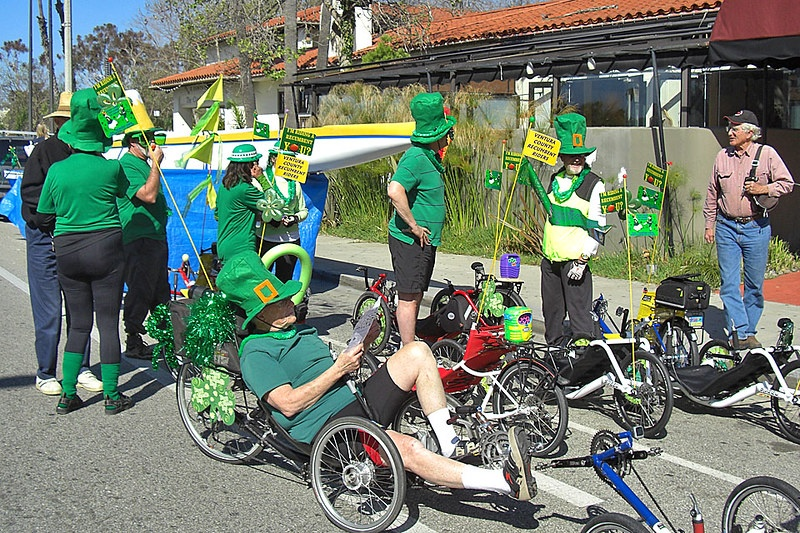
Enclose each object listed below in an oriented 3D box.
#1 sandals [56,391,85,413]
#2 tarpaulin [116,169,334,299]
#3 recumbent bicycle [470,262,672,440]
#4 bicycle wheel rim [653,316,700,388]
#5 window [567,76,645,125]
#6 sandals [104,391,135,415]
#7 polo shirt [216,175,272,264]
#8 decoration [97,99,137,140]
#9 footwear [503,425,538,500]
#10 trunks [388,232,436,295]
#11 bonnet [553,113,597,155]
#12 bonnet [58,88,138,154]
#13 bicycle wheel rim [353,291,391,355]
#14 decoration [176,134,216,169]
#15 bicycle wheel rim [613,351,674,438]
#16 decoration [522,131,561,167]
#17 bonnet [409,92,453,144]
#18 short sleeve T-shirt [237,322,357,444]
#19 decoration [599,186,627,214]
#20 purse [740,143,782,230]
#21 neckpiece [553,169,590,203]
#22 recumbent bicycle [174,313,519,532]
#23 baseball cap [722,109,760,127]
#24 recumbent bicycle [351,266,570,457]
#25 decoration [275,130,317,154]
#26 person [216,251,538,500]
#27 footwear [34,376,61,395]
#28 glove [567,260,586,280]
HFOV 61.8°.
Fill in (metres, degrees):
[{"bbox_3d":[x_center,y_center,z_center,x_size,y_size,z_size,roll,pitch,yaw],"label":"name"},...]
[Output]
[{"bbox_3d":[-3.329,1.396,6.976,0.126,0.189,0.289,3,8,18],"label":"sandals"},{"bbox_3d":[-2.219,-0.450,8.140,1.884,1.409,0.163,-1,2,-7],"label":"tarpaulin"},{"bbox_3d":[1.705,1.023,6.648,1.743,1.118,0.862,5,3,44],"label":"recumbent bicycle"},{"bbox_3d":[2.902,0.852,7.154,0.530,0.638,0.551,-1,-4,42],"label":"bicycle wheel rim"},{"bbox_3d":[4.781,-3.925,15.666,0.236,1.187,2.064,-8,12,-44],"label":"window"},{"bbox_3d":[-2.835,1.405,6.954,0.145,0.204,0.310,5,8,32],"label":"sandals"},{"bbox_3d":[-1.740,-0.563,7.655,0.755,1.068,0.623,12,17,35],"label":"polo shirt"},{"bbox_3d":[-2.872,-1.544,6.950,0.379,0.408,0.103,-24,-2,-4],"label":"decoration"},{"bbox_3d":[0.831,1.381,4.803,0.182,0.581,0.229,4,-18,-45],"label":"footwear"},{"bbox_3d":[0.167,-0.013,7.521,0.540,0.980,0.699,1,5,-2],"label":"trunks"},{"bbox_3d":[1.874,-1.449,7.255,0.426,0.306,0.436,1,11,40],"label":"bonnet"},{"bbox_3d":[-3.036,-1.512,6.874,0.342,0.644,0.641,7,11,37],"label":"bonnet"},{"bbox_3d":[-0.278,0.717,8.648,0.663,0.772,0.697,0,1,5],"label":"bicycle wheel rim"},{"bbox_3d":[-2.455,-1.463,8.255,0.408,0.372,0.770,-3,10,-18],"label":"decoration"},{"bbox_3d":[2.279,1.223,6.370,0.204,0.713,0.696,-7,17,-22],"label":"bicycle wheel rim"},{"bbox_3d":[1.537,-1.317,7.257,0.339,0.366,0.432,-1,9,-10],"label":"decoration"},{"bbox_3d":[0.348,-1.617,7.334,0.483,0.356,0.526,6,48,27],"label":"bonnet"},{"bbox_3d":[-0.795,0.931,5.262,0.483,0.845,0.850,-29,-2,20],"label":"short sleeve T-shirt"},{"bbox_3d":[2.224,-0.702,7.028,0.166,0.267,0.276,-5,10,-32],"label":"decoration"},{"bbox_3d":[4.276,-1.029,8.018,0.345,0.888,0.316,5,10,29],"label":"purse"},{"bbox_3d":[1.816,-0.899,7.229,0.308,0.436,0.167,-2,-28,42],"label":"neckpiece"},{"bbox_3d":[-0.284,1.165,5.789,3.348,1.868,1.195,0,4,29],"label":"recumbent bicycle"},{"bbox_3d":[4.018,-1.782,7.986,0.384,0.203,0.260,8,11,9],"label":"baseball cap"},{"bbox_3d":[0.508,0.895,6.818,1.133,1.423,2.621,5,12,-38],"label":"recumbent bicycle"},{"bbox_3d":[-1.260,-1.583,8.386,0.402,0.326,0.414,-2,9,-11],"label":"decoration"},{"bbox_3d":[-0.202,0.763,5.217,2.503,1.593,0.988,7,14,20],"label":"person"},{"bbox_3d":[-3.788,1.303,7.353,0.325,0.142,0.142,-1,4,40],"label":"footwear"},{"bbox_3d":[1.868,0.029,7.113,0.144,0.206,0.078,18,-1,16],"label":"glove"}]
